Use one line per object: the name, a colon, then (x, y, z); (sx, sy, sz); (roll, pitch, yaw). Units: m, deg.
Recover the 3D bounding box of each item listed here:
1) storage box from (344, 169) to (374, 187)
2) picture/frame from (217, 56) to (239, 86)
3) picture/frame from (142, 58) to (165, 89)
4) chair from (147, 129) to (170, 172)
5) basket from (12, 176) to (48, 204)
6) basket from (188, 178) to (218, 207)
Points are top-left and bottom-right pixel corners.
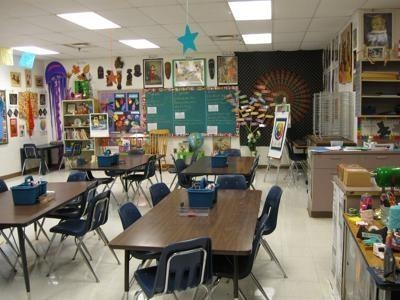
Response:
storage box: (1.661, 0.296, 3.255); (0.163, 0.159, 0.323); (-1, 5, 14)
picture/frame: (0.916, -2.617, 10.008); (0.855, 1.230, 0.085); (0, 2, 4)
picture/frame: (-1.545, -2.623, 10.373); (0.892, 1.240, 0.084); (0, 4, 9)
chair: (-1.407, 0.039, 10.715); (0.652, 1.352, 0.786); (2, -12, 20)
basket: (-2.278, 0.488, 4.058); (0.279, 0.206, 0.166); (-14, 8, -41)
basket: (-0.002, 0.568, 3.770); (0.337, 0.231, 0.535); (0, -6, 4)
